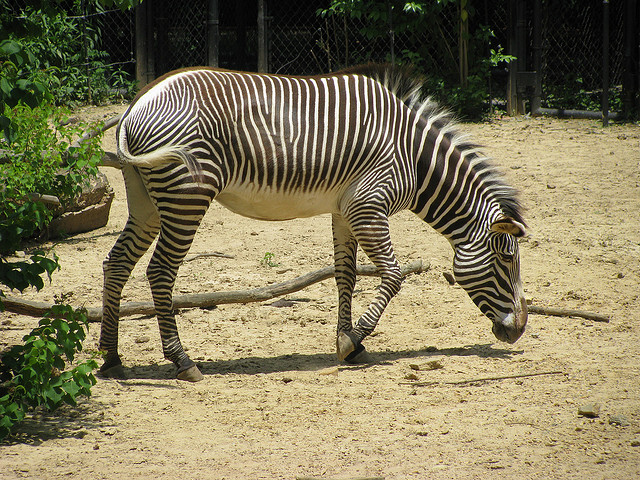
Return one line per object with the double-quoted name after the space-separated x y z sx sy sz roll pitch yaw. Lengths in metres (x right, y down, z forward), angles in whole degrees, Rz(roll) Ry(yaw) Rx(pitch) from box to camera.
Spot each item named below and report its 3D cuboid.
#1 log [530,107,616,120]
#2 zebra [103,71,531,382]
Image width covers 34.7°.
3.602 -1.829 14.856 1.231 0.181 0.211 7 49 33 "log"
0.109 -0.062 8.603 3.713 2.533 1.406 0 9 -16 "zebra"
